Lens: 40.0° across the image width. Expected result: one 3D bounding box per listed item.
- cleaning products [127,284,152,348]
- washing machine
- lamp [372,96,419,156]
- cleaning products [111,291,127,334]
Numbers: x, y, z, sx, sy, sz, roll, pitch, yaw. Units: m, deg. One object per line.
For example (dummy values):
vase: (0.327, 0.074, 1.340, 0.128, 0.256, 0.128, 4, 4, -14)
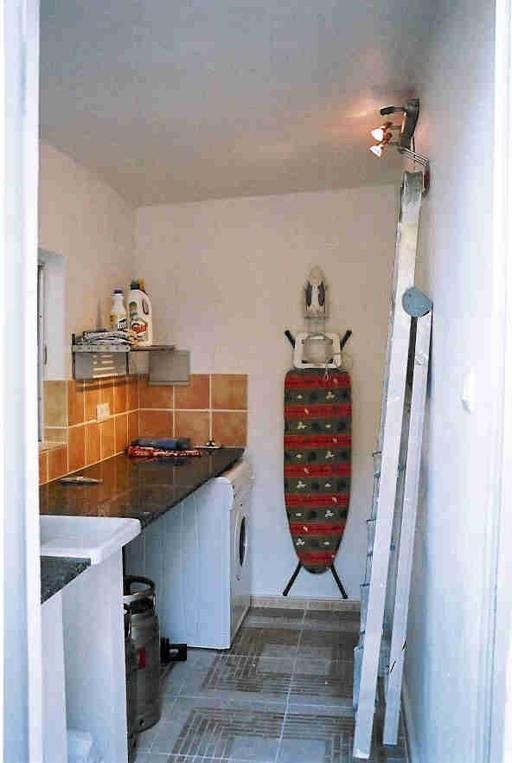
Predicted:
cleaning products: (-0.540, -0.322, 3.247, 0.097, 0.310, 0.190, 0, 1, -3)
washing machine: (-0.203, 0.737, 3.326, 0.593, 0.946, 0.651, 0, 2, 7)
lamp: (0.438, -0.812, 2.246, 0.129, 0.196, 0.065, 11, -6, 3)
cleaning products: (-0.612, -0.316, 3.147, 0.071, 0.183, 0.270, -1, 1, -11)
